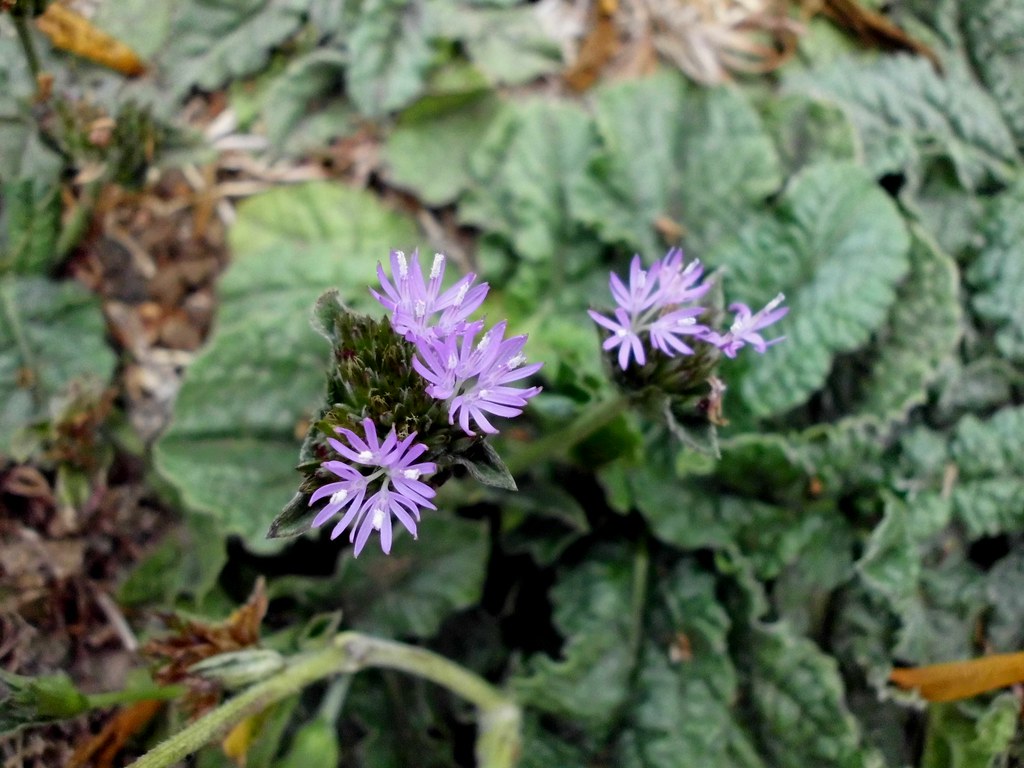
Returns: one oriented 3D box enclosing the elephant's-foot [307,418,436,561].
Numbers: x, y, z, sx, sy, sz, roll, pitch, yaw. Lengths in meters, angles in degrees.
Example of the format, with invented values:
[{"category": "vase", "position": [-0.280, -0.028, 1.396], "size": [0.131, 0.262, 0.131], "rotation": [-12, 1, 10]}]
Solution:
[{"category": "elephant's-foot", "position": [-0.161, 0.103, 1.343], "size": [0.148, 0.142, 0.054], "rotation": [-41, 114, -48]}]
